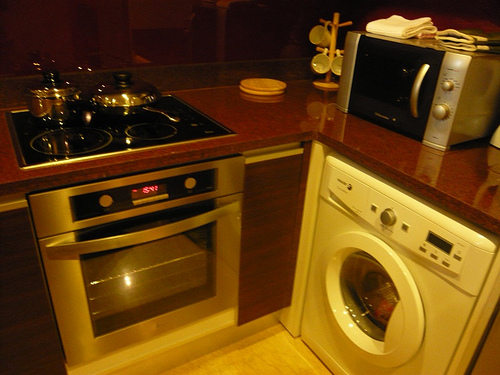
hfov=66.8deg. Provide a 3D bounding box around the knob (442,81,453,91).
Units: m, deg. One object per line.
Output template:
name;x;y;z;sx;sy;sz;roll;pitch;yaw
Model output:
knob;0.745;-0.388;1.436;0.028;0.027;0.035;-9;14;-9

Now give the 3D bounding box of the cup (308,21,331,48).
cup;0.394;-0.851;2.158;0.097;0.147;0.101;20;27;-11

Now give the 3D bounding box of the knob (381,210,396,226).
knob;0.513;0.113;1.409;0.024;0.043;0.042;-7;63;-27

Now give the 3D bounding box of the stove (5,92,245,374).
stove;-0.455;0.250;1.656;0.823;0.992;0.481;-15;36;-24

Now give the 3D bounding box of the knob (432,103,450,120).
knob;0.743;-0.296;1.475;0.026;0.048;0.049;-14;43;-38

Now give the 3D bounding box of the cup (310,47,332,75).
cup;0.426;-0.729;2.225;0.109;0.159;0.070;27;37;16

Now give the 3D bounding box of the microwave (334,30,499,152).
microwave;0.710;-0.395;1.569;0.300;0.292;0.456;-21;44;-26
